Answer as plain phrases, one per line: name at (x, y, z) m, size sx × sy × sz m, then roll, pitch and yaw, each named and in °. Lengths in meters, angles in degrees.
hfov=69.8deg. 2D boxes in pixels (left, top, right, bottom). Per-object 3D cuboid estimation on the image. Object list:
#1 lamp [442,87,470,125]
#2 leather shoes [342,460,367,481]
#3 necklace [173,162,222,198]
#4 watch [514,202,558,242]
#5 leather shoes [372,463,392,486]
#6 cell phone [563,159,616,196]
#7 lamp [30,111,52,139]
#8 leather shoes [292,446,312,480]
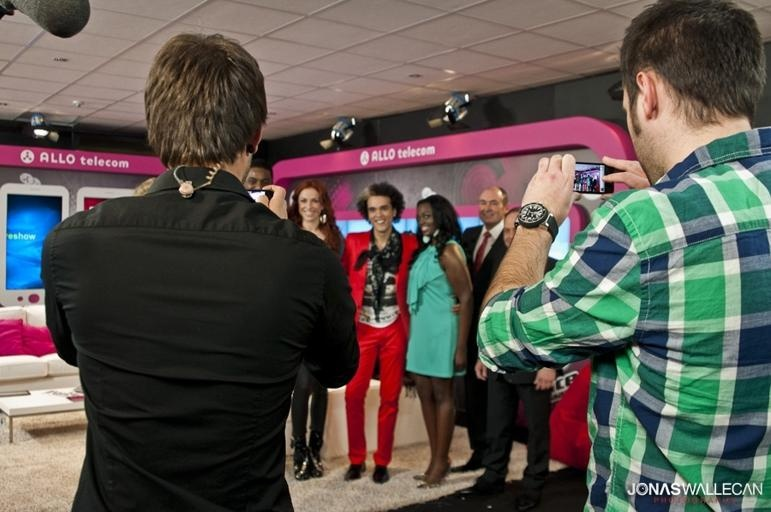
lamp at (0.850, -1.750, 6.611) m, size 0.352 × 0.352 × 0.454 m, roll -4°, pitch -2°, yaw 7°
leather shoes at (-0.242, 1.654, 4.264) m, size 0.081 × 0.085 × 0.213 m, roll -3°, pitch -13°, yaw 11°
necklace at (-0.485, -0.187, 1.411) m, size 0.076 × 0.100 × 0.036 m, roll 23°, pitch -34°, yaw 11°
watch at (0.403, -0.116, 1.454) m, size 0.103 × 0.068 × 0.100 m, roll 14°, pitch 34°, yaw 23°
leather shoes at (-0.035, 1.653, 4.198) m, size 0.108 × 0.103 × 0.270 m, roll 0°, pitch -10°, yaw 0°
cell phone at (0.702, -0.255, 1.957) m, size 0.116 × 0.182 × 0.018 m, roll 7°, pitch -27°, yaw 3°
lamp at (-4.962, -1.874, 7.946) m, size 0.289 × 0.254 × 0.426 m, roll 4°, pitch 15°, yaw -30°
leather shoes at (-0.649, 1.578, 4.262) m, size 0.130 × 0.251 × 0.375 m, roll 8°, pitch -7°, yaw -15°
